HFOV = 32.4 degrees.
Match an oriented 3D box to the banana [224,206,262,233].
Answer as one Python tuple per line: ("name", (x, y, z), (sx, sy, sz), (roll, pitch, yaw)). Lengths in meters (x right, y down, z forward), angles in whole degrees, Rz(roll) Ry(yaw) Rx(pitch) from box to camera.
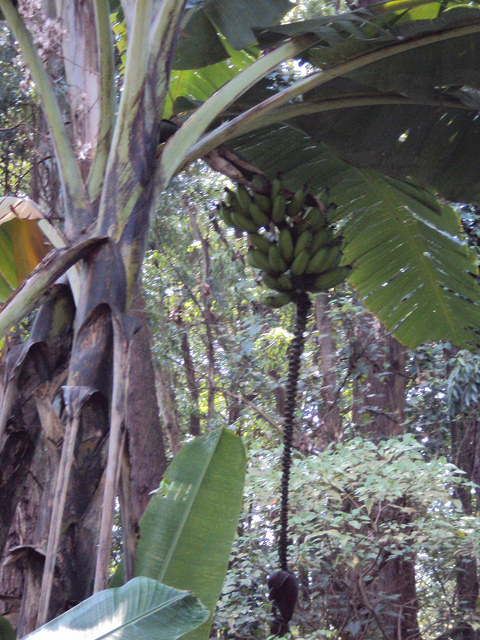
("banana", (0.013, -0.356, 2.935), (0.144, 0.053, 0.035), (32, -35, -17))

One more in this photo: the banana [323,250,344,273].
("banana", (0.343, -0.203, 2.929), (0.027, 0.114, 0.043), (40, -31, 11))

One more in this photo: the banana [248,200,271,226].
("banana", (0.069, -0.366, 2.891), (0.056, 0.022, 0.087), (-8, -55, 33))

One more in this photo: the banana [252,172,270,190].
("banana", (0.068, -0.463, 2.830), (0.025, 0.081, 0.024), (-33, -30, -4))

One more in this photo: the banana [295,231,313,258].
("banana", (0.217, -0.260, 2.831), (0.033, 0.108, 0.039), (19, -7, 17))

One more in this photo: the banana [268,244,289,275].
("banana", (0.134, -0.210, 2.864), (0.032, 0.063, 0.094), (-33, -58, -11))

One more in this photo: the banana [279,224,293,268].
("banana", (0.158, -0.256, 2.847), (0.039, 0.044, 0.126), (-15, -78, -10))

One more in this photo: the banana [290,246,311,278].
("banana", (0.206, -0.191, 2.846), (0.036, 0.046, 0.129), (40, -43, 22))

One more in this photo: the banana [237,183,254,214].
("banana", (0.034, -0.416, 2.915), (0.034, 0.045, 0.120), (15, -43, 45))

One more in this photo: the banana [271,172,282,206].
("banana", (0.115, -0.448, 2.859), (0.029, 0.040, 0.111), (5, -61, -5))

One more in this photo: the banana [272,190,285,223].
("banana", (0.129, -0.386, 2.852), (0.033, 0.039, 0.104), (5, -64, 0))

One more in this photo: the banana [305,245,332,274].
("banana", (0.276, -0.208, 2.861), (0.041, 0.052, 0.141), (43, -64, 7))

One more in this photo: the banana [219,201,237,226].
("banana", (-0.056, -0.377, 2.978), (0.047, 0.122, 0.031), (2, -61, -24))

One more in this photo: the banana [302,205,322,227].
("banana", (0.262, -0.359, 2.924), (0.031, 0.116, 0.045), (20, -9, 11))

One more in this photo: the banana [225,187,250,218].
("banana", (-0.009, -0.405, 2.917), (0.123, 0.047, 0.029), (49, -50, 16))
